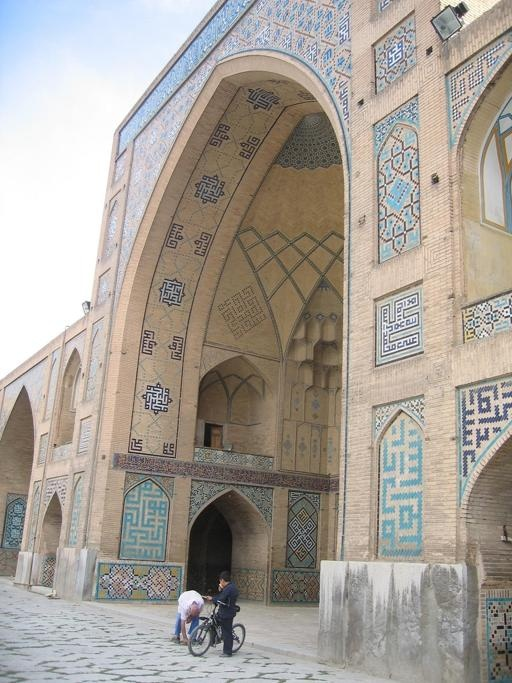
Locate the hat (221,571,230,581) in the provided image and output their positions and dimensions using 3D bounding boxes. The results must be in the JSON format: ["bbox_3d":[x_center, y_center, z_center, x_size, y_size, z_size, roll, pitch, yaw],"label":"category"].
[{"bbox_3d":[-0.210,1.606,4.143,0.070,0.084,0.087,3,-9,-6],"label":"hat"}]

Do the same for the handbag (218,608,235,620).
[{"bbox_3d":[-0.189,1.755,3.894,0.109,0.081,0.159,4,-20,-2],"label":"handbag"}]
